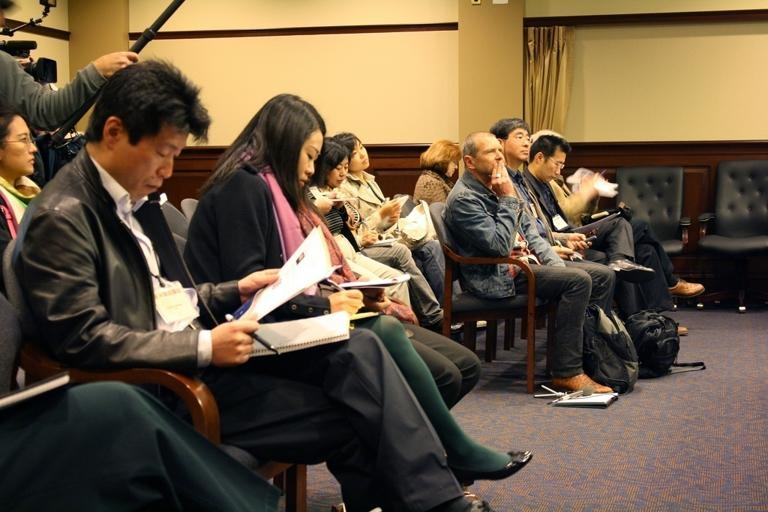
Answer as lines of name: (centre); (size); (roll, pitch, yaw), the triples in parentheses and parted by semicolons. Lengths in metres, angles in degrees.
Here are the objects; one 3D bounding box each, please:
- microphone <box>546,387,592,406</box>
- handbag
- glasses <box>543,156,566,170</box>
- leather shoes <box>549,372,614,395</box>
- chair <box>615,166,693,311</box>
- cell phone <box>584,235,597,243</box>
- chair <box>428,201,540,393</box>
microphone: (1.105, 0.845, 3.539); (0.283, 0.076, 0.097); (-11, 6, -24)
handbag: (1.813, 0.595, 4.160); (0.353, 0.469, 0.445); (2, 12, 13)
glasses: (1.337, -0.741, 4.714); (0.113, 0.058, 0.116); (6, 4, -42)
leather shoes: (1.192, 0.799, 3.636); (0.388, 0.166, 0.136); (-6, 8, 10)
chair: (3.002, -0.245, 6.514); (0.799, 1.289, 0.793); (-9, 14, -2)
cell phone: (1.620, -0.128, 4.644); (0.090, 0.023, 0.094); (-7, 2, 24)
chair: (0.630, 0.328, 3.932); (0.705, 1.033, 0.698); (-5, -5, 19)
